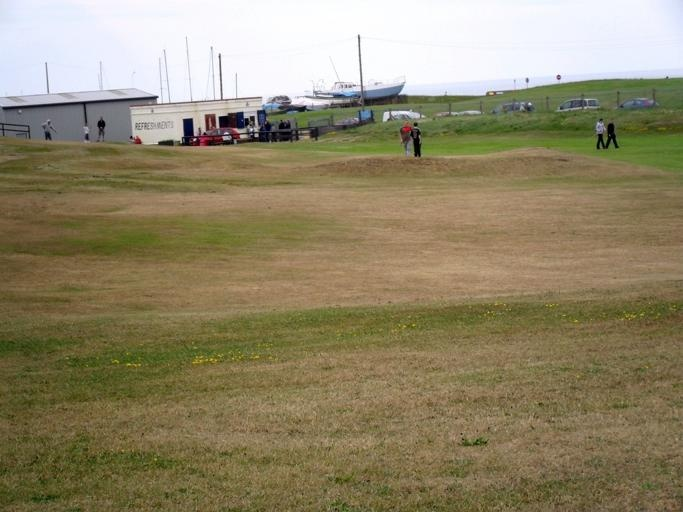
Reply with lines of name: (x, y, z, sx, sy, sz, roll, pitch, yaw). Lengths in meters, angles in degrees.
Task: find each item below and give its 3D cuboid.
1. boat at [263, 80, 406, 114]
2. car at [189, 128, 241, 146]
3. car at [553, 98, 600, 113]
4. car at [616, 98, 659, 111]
boat: (-1.045, -21.045, 141.206, 16.767, 3.325, 23.252, -5, 9, -14)
car: (-8.593, -7.988, 72.471, 3.189, 1.005, 3.142, -1, 9, 10)
car: (16.120, -10.105, 74.929, 2.858, 1.339, 1.697, 11, 15, 43)
car: (19.318, -9.741, 70.569, 2.221, 0.755, 1.207, 7, 14, 29)
